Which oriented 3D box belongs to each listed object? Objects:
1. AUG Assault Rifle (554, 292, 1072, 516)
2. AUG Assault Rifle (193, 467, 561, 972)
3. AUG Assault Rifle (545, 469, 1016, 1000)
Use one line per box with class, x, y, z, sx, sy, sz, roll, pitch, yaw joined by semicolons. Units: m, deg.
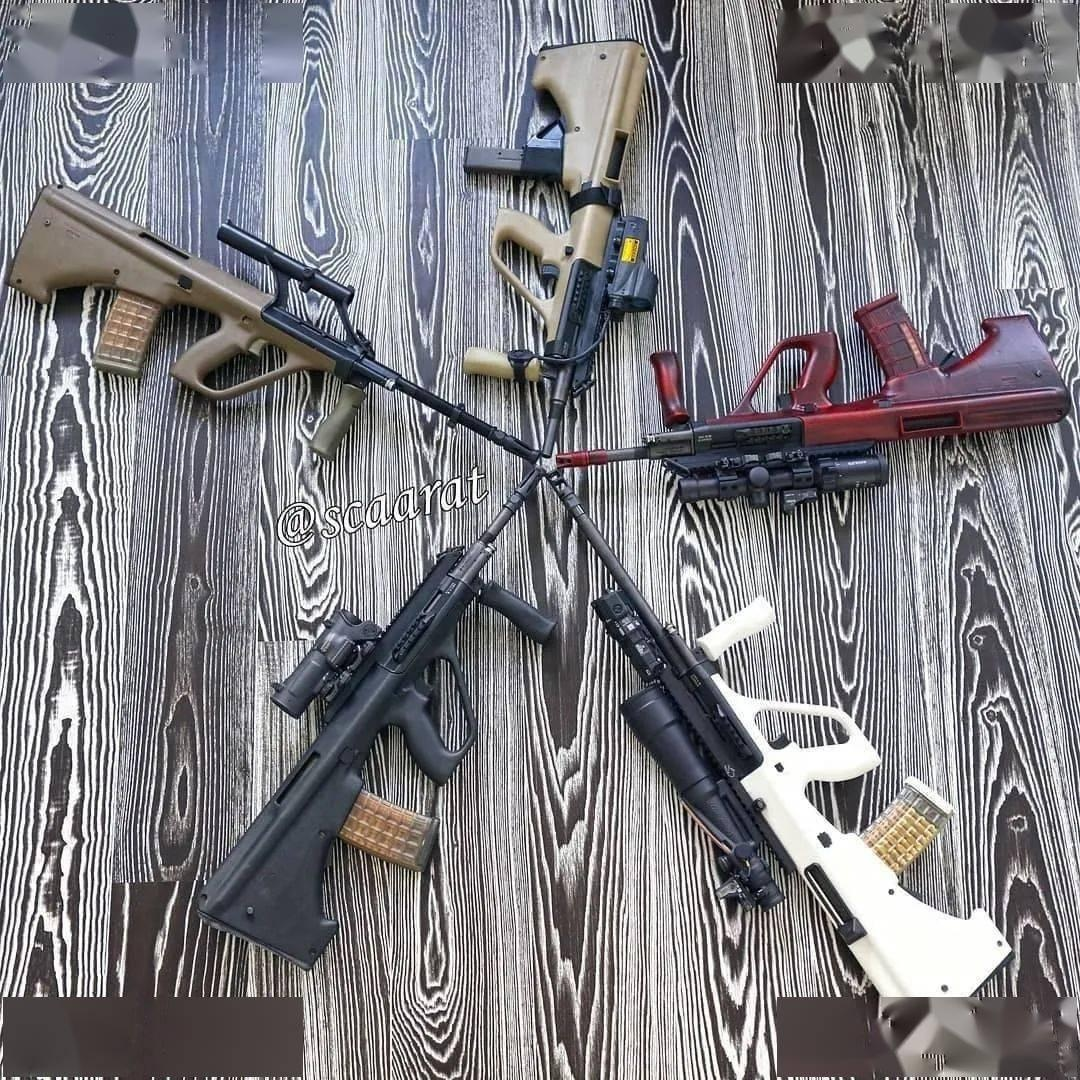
AUG Assault Rifle;0.670;-0.329;3.870;0.965;0.159;0.602;-13;77;-3
AUG Assault Rifle;-0.390;0.494;3.698;0.518;0.139;1.183;31;79;-6
AUG Assault Rifle;0.526;0.589;3.889;0.542;0.542;1.769;-26;81;-14
